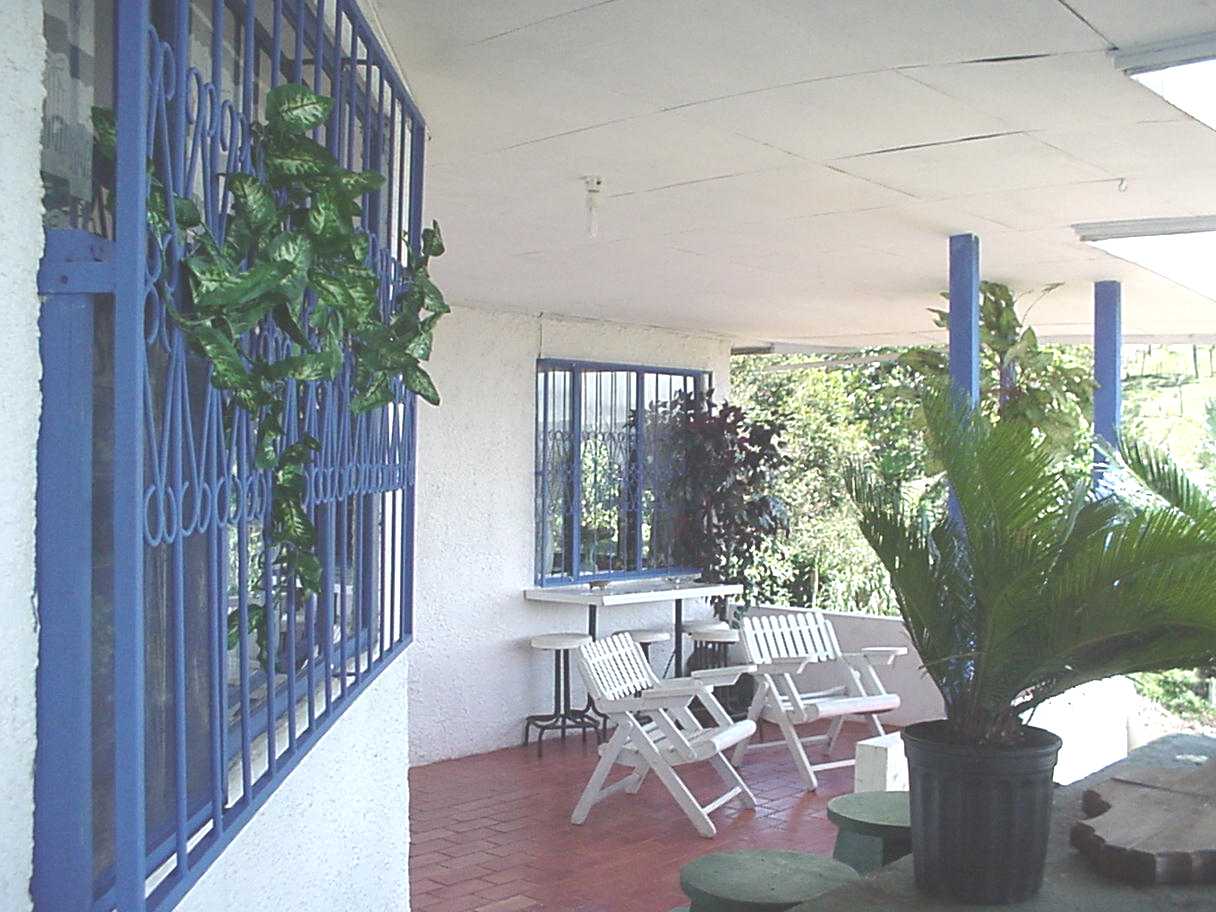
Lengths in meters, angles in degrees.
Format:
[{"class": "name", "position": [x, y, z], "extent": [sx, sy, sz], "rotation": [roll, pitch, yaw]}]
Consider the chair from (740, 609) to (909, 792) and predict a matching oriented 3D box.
[{"class": "chair", "position": [1.636, 1.849, 7.855], "extent": [0.988, 1.226, 0.880], "rotation": [2, -7, -27]}]

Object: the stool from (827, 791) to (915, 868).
[{"class": "stool", "position": [0.921, 1.273, 3.499], "extent": [0.280, 0.191, 0.296], "rotation": [-1, -6, 24]}]

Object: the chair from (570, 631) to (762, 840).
[{"class": "chair", "position": [0.376, 1.804, 6.697], "extent": [1.027, 1.152, 0.927], "rotation": [-4, -4, 37]}]

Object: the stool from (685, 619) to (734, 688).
[{"class": "stool", "position": [0.942, 1.783, 9.221], "extent": [0.477, 0.583, 0.503], "rotation": [0, -2, 4]}]

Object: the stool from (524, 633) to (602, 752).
[{"class": "stool", "position": [-0.391, 1.991, 8.522], "extent": [0.566, 0.810, 0.572], "rotation": [-1, -4, 41]}]
